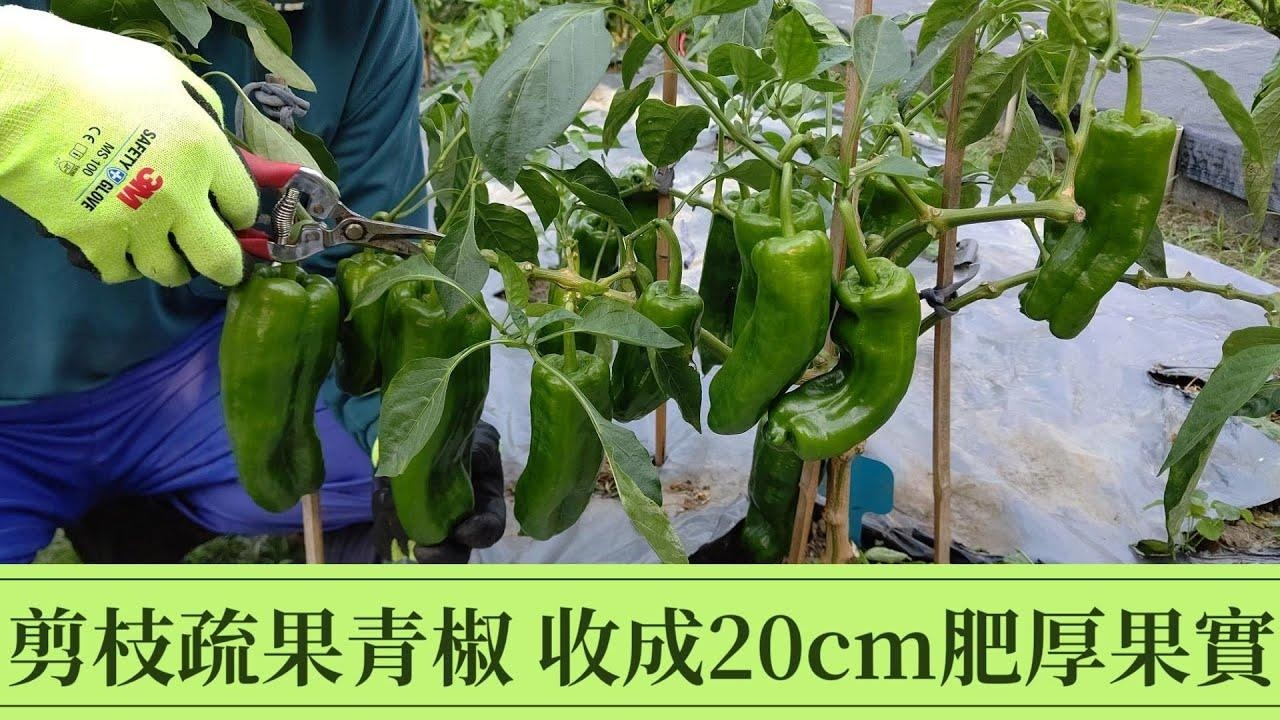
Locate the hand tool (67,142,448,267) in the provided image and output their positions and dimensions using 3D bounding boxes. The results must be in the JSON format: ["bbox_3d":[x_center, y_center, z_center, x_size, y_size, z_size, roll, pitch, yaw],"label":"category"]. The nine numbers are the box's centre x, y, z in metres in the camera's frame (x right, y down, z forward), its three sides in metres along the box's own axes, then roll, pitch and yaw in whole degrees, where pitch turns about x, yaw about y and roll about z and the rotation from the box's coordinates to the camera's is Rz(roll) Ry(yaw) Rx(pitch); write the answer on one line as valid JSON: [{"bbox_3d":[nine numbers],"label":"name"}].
[{"bbox_3d":[-0.961,-0.371,2.862,0.911,0.374,0.176,12,-5,3],"label":"hand tool"}]

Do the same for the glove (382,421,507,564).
[{"bbox_3d":[-0.524,0.453,3.349,0.373,0.481,0.196,12,3,22],"label":"glove"}]
